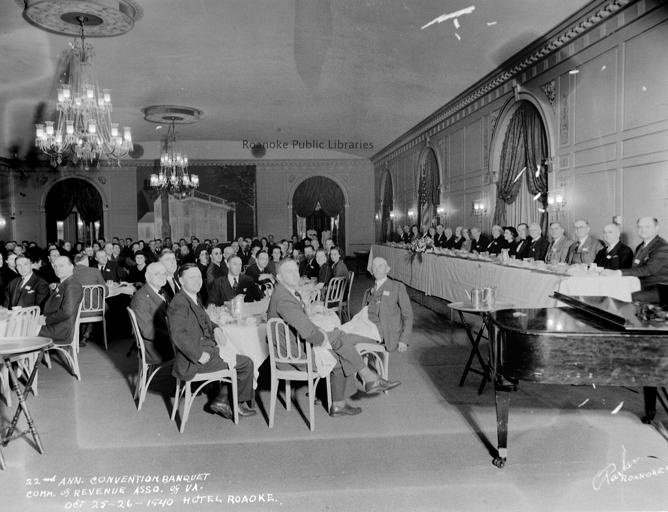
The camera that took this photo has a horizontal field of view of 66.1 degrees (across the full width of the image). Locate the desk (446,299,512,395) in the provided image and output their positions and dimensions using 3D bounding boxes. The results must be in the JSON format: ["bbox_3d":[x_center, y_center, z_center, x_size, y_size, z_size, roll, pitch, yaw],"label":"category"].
[{"bbox_3d":[1.593,1.010,5.640,0.632,0.794,0.663,-10,-12,-6],"label":"desk"}]

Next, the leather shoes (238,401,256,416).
[{"bbox_3d":[-0.831,1.506,5.064,0.206,0.161,0.079,-2,0,-3],"label":"leather shoes"}]

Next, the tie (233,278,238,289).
[{"bbox_3d":[-1.343,0.368,6.991,0.069,0.106,0.024,3,3,-1],"label":"tie"}]

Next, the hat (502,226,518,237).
[{"bbox_3d":[3.486,-0.479,10.086,0.212,0.223,0.172,13,9,38],"label":"hat"}]

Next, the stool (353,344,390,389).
[{"bbox_3d":[0.384,1.126,5.264,0.325,0.453,0.443,-12,11,-19],"label":"stool"}]

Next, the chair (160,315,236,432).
[{"bbox_3d":[-1.216,1.241,5.001,0.537,0.808,0.424,4,-11,-37],"label":"chair"}]

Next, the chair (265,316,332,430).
[{"bbox_3d":[-0.445,1.195,4.959,0.581,0.957,0.556,-33,-21,25],"label":"chair"}]

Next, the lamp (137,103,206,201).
[{"bbox_3d":[-4.488,-2.817,14.259,1.588,2.306,1.551,-4,6,-35],"label":"lamp"}]

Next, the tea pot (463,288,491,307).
[{"bbox_3d":[1.566,0.444,5.560,0.275,0.220,0.166,-1,1,7],"label":"tea pot"}]

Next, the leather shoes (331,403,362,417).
[{"bbox_3d":[0.119,1.489,5.040,0.294,0.136,0.122,-1,-2,-8],"label":"leather shoes"}]

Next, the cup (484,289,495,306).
[{"bbox_3d":[1.667,0.433,5.445,0.119,0.189,0.104,-8,13,-30],"label":"cup"}]
